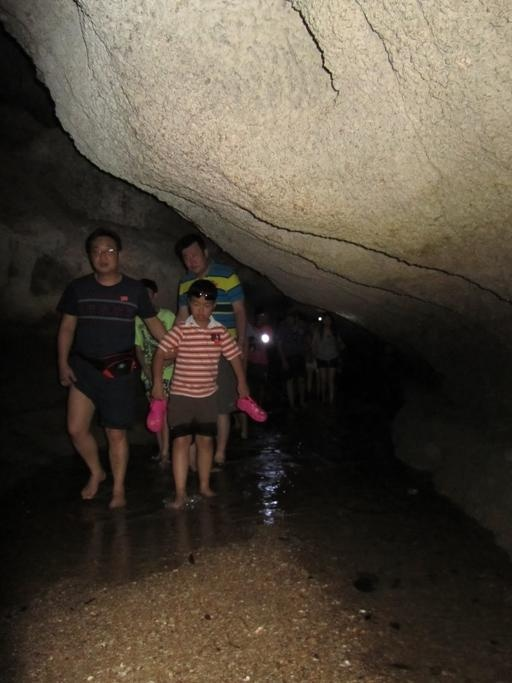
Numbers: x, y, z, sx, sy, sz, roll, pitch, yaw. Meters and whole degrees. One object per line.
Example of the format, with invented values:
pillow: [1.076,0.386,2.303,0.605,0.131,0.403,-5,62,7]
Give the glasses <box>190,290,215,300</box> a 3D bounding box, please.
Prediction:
glasses: [-0.301,-0.269,3.251,0.119,0.046,0.027,0,3,-12]

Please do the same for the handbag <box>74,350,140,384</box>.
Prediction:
handbag: [-0.856,0.128,3.294,0.215,0.077,0.189,21,13,28]

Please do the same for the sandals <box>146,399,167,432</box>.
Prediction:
sandals: [-0.568,0.419,3.203,0.124,0.224,0.081,8,-19,-6]
